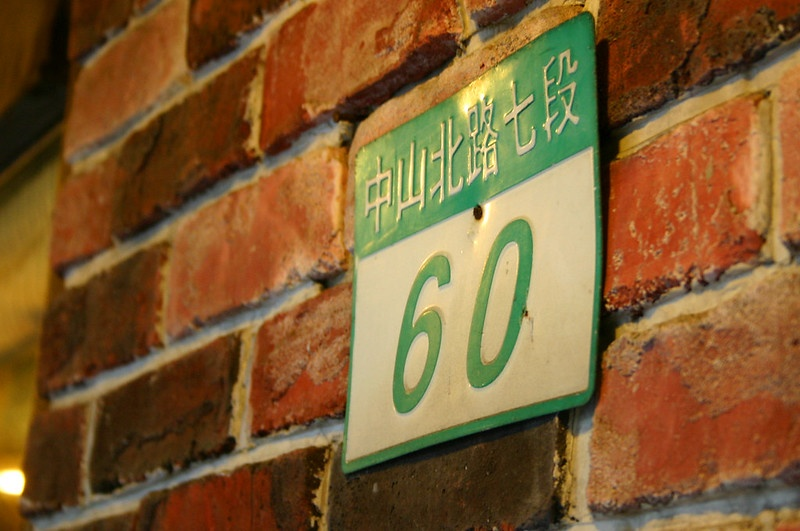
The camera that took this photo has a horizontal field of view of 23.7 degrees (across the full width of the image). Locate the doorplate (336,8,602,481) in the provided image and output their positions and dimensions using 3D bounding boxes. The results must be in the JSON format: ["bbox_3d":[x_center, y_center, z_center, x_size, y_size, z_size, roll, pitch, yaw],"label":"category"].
[{"bbox_3d":[0.102,-0.015,2.519,0.047,0.539,0.424,15,-27,-37],"label":"doorplate"}]
